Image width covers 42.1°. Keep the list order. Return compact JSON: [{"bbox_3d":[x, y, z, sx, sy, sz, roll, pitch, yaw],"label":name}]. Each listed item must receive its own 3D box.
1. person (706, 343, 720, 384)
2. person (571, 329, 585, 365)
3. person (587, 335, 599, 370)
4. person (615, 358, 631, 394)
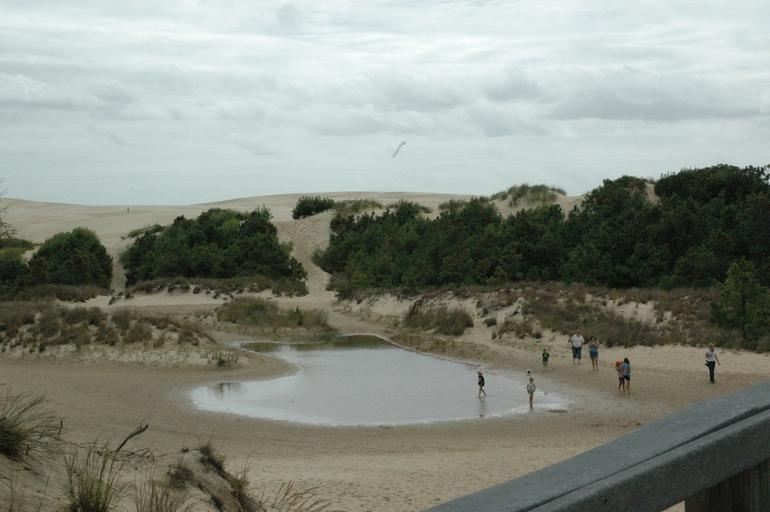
[{"bbox_3d":[17.668,5.777,53.932,0.616,2.105,1.472,1,2,23],"label":"person"},{"bbox_3d":[11.534,5.528,60.053,0.679,1.646,2.427,1,2,11],"label":"person"},{"bbox_3d":[12.135,5.674,58.024,0.462,1.825,1.435,1,2,11],"label":"person"},{"bbox_3d":[12.887,6.456,53.911,0.730,1.816,1.314,1,2,14],"label":"person"}]
